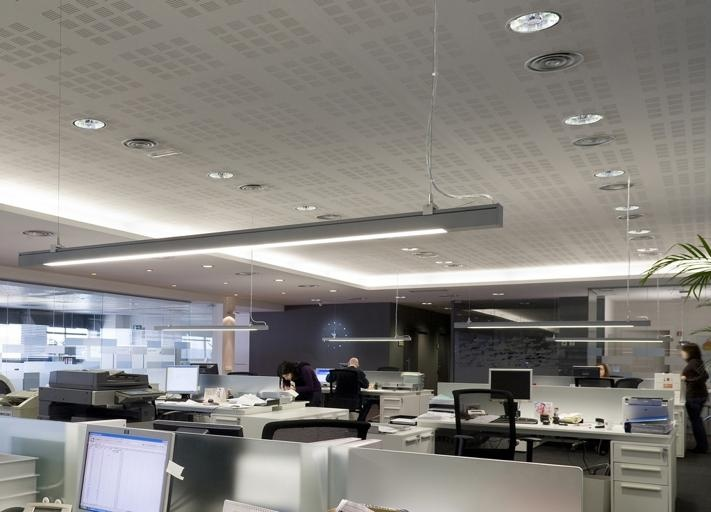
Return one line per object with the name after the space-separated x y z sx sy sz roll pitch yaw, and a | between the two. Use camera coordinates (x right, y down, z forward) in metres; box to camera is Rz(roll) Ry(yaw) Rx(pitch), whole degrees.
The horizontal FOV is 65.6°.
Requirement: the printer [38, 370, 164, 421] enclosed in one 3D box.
-2.424 1.329 5.239 0.986 0.345 0.672 -5 -10 27 | printer

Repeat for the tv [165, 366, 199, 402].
-2.851 2.101 9.042 0.896 0.576 0.252 -1 -16 8 | tv

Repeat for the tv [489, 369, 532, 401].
1.882 1.557 6.694 0.666 0.316 0.062 1 -3 14 | tv

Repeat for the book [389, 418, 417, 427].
0.507 1.852 6.206 0.333 0.053 0.292 -3 -6 26 | book

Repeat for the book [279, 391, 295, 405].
-1.020 2.088 8.158 0.240 0.071 0.250 0 -6 -3 | book

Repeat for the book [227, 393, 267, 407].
-1.558 2.113 8.013 0.353 0.063 0.300 2 -2 16 | book

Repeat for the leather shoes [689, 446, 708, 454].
5.882 3.335 9.516 0.285 0.082 0.239 0 -12 4 | leather shoes
